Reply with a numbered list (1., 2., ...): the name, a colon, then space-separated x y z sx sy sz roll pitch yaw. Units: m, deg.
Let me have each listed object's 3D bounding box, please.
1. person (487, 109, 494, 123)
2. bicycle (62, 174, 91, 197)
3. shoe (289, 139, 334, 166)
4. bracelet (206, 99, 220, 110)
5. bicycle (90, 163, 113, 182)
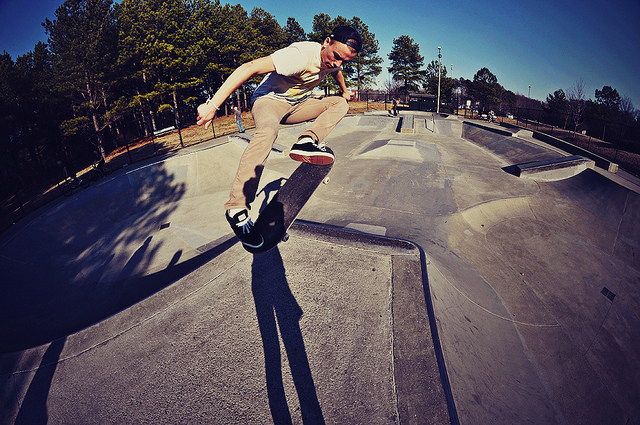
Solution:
1. person: 16.326 -9.131 33.282 0.501 0.786 2.898 12 24 23
2. bicycle: -13.455 -1.472 19.346 0.748 0.926 1.497 -11 29 42
3. shoe: -0.208 -1.373 8.477 1.205 0.490 0.544 3 -7 -4
4. bracelet: -2.333 -2.370 7.621 0.216 0.088 0.239 48 2 33
5. bicycle: -12.900 -2.390 20.632 0.655 0.883 1.382 7 22 13
